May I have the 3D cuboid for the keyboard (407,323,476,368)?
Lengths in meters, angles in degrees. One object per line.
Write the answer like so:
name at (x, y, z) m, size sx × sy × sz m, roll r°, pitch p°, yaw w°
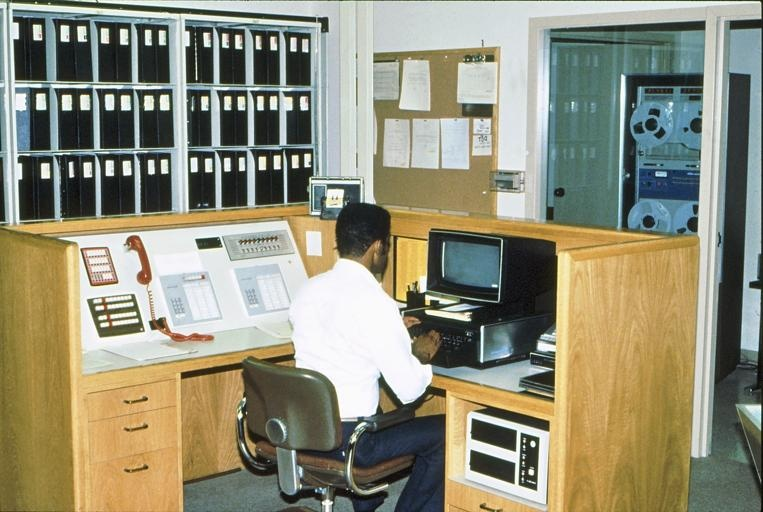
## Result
keyboard at (0.335, 0.440, 3.393) m, size 0.244 × 0.226 × 0.059 m, roll 7°, pitch 4°, yaw 27°

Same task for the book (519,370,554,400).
book at (0.695, 0.568, 3.100) m, size 0.154 × 0.067 × 0.210 m, roll -1°, pitch 12°, yaw 11°

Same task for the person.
person at (-0.048, 0.583, 3.309) m, size 0.714 × 1.625 × 0.462 m, roll -5°, pitch 11°, yaw -7°

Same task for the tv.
tv at (0.605, -0.030, 3.571) m, size 0.439 × 0.293 × 0.444 m, roll -7°, pitch 11°, yaw -38°
